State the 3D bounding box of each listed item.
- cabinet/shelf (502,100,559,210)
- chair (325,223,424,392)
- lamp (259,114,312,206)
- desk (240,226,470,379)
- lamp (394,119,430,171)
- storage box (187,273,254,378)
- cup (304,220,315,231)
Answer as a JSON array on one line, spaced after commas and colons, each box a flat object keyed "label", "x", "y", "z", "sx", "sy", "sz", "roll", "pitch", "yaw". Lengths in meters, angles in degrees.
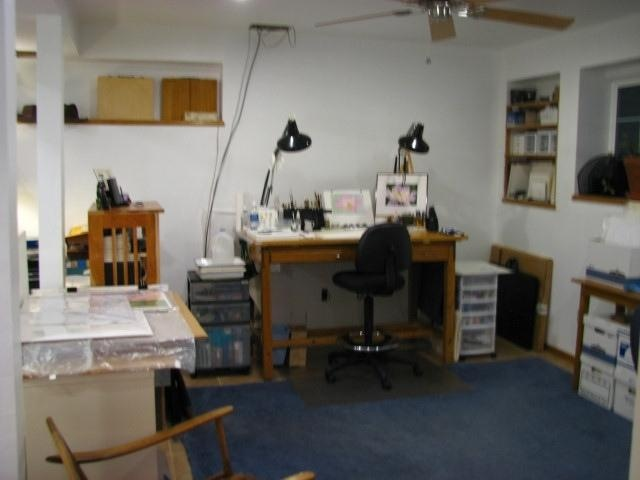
[{"label": "cabinet/shelf", "x": 2.193, "y": -0.883, "z": 5.411, "sx": 0.282, "sy": 1.055, "sz": 0.789, "roll": -2, "pitch": 11, "yaw": -11}, {"label": "chair", "x": 0.492, "y": 0.525, "z": 4.747, "sx": 0.749, "sy": 1.386, "sz": 0.830, "roll": 2, "pitch": 8, "yaw": 6}, {"label": "lamp", "x": -0.378, "y": -0.811, "z": 5.146, "sx": 0.466, "sy": 0.320, "sz": 0.870, "roll": -2, "pitch": -40, "yaw": -3}, {"label": "desk", "x": 0.352, "y": 0.569, "z": 4.859, "sx": 1.848, "sy": 1.309, "sz": 0.925, "roll": -3, "pitch": -5, "yaw": 13}, {"label": "lamp", "x": 0.861, "y": -0.887, "z": 5.129, "sx": 0.274, "sy": 0.501, "sz": 1.037, "roll": 1, "pitch": 12, "yaw": 6}, {"label": "storage box", "x": -0.948, "y": 0.599, "z": 4.912, "sx": 0.549, "sy": 0.957, "sz": 0.689, "roll": 1, "pitch": 26, "yaw": -11}, {"label": "cup", "x": -0.126, "y": -0.138, "z": 5.081, "sx": 0.087, "sy": 0.102, "sz": 0.171, "roll": -1, "pitch": 0, "yaw": -3}]
